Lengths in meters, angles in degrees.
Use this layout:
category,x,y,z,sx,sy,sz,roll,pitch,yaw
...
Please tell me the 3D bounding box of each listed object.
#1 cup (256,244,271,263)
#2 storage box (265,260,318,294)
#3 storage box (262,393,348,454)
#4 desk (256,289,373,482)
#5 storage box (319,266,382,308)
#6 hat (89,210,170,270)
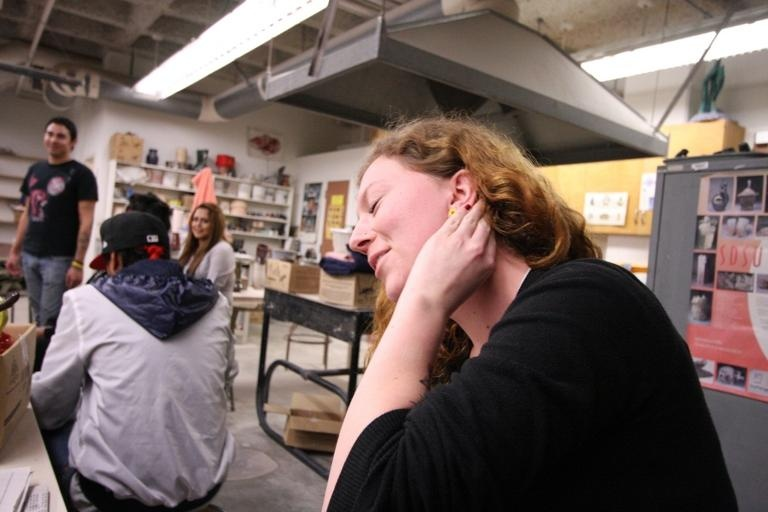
category,x,y,z,sx,sy,sz,roll,pitch,yaw
cup,-1.654,-0.041,6.845,0.187,0.206,0.192,13,34,-9
storage box,-0.760,0.163,4.075,0.313,0.187,0.316,1,0,43
storage box,-0.534,1.205,3.724,0.651,0.282,0.512,11,-1,-1
desk,-0.533,0.877,3.509,1.055,0.957,0.721,22,-15,-30
storage box,-0.270,0.185,3.488,0.297,0.184,0.308,2,1,21
hat,-1.363,-0.077,2.651,0.365,0.185,0.262,-2,0,5
